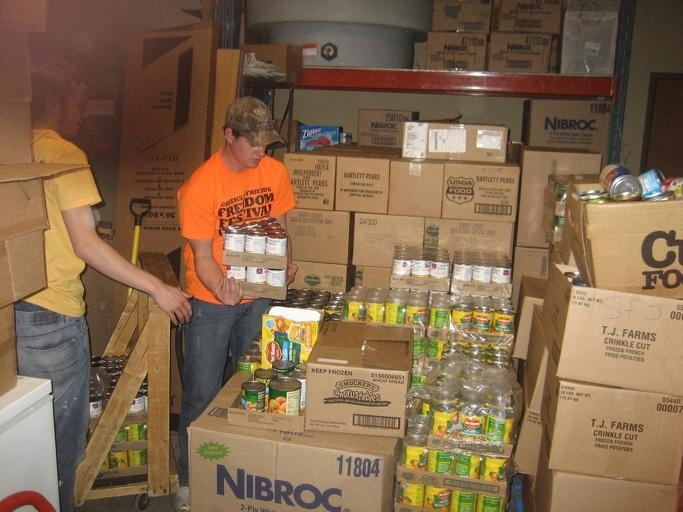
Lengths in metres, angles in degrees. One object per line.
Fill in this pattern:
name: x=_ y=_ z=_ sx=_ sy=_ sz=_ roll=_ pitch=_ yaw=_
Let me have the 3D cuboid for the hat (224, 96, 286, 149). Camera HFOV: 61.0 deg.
hat: x=-0.408 y=-0.645 z=2.736 sx=0.229 sy=0.162 sz=0.344 roll=-13 pitch=36 yaw=-44
